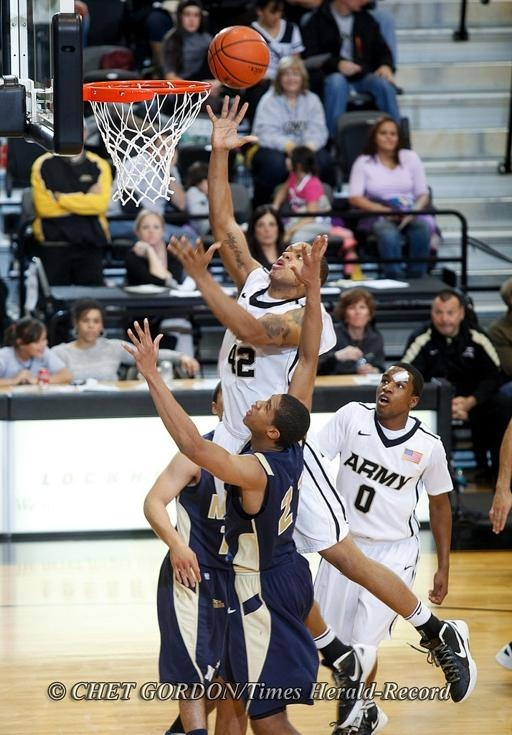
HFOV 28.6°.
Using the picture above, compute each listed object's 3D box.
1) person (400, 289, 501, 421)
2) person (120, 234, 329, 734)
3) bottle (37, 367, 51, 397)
[{"bbox_3d":[1.185,-0.054,6.091,0.607,0.808,0.488,-6,-1,-3],"label":"person"},{"bbox_3d":[-0.029,0.457,2.771,0.598,1.176,0.272,-6,9,-44],"label":"person"},{"bbox_3d":[-1.200,0.071,5.630,0.100,0.179,0.099,2,2,0],"label":"bottle"}]
